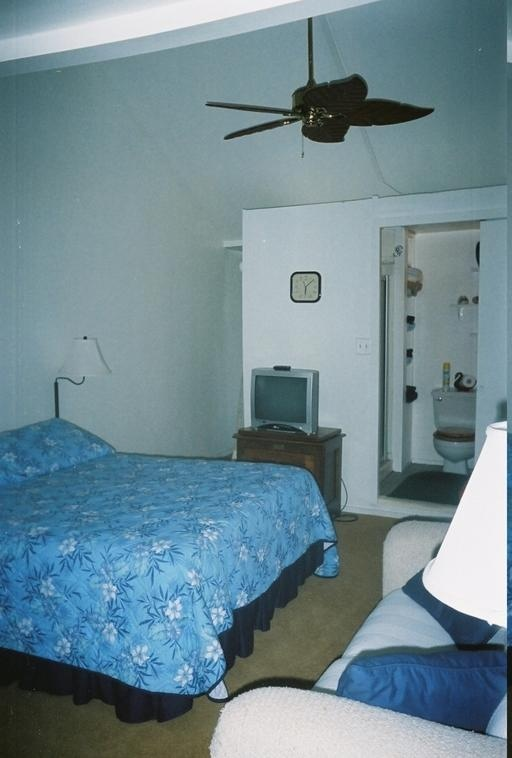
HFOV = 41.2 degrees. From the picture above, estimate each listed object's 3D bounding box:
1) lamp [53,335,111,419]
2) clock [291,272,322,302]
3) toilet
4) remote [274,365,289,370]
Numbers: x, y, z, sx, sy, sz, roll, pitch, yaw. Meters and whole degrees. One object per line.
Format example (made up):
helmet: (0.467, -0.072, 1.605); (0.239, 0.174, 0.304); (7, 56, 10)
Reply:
lamp: (-0.730, -0.031, 2.987); (0.296, 0.463, 0.287); (-3, 14, -13)
clock: (0.332, -0.596, 4.384); (0.198, 0.187, 0.023); (4, 7, 31)
toilet: (1.470, 0.415, 5.041); (0.335, 0.566, 0.585); (3, 14, 16)
remote: (0.173, -0.069, 4.230); (0.085, 0.030, 0.033); (-1, 0, 17)
